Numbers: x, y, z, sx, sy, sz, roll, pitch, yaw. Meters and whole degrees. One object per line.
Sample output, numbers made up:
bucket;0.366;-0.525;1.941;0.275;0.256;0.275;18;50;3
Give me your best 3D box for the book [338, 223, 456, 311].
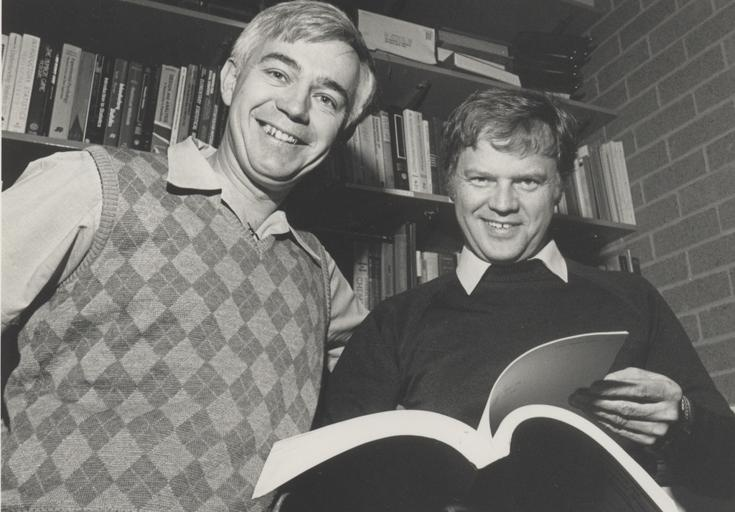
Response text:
book;0.090;0.018;2.134;0.258;0.324;0.216;1;-12;-10
